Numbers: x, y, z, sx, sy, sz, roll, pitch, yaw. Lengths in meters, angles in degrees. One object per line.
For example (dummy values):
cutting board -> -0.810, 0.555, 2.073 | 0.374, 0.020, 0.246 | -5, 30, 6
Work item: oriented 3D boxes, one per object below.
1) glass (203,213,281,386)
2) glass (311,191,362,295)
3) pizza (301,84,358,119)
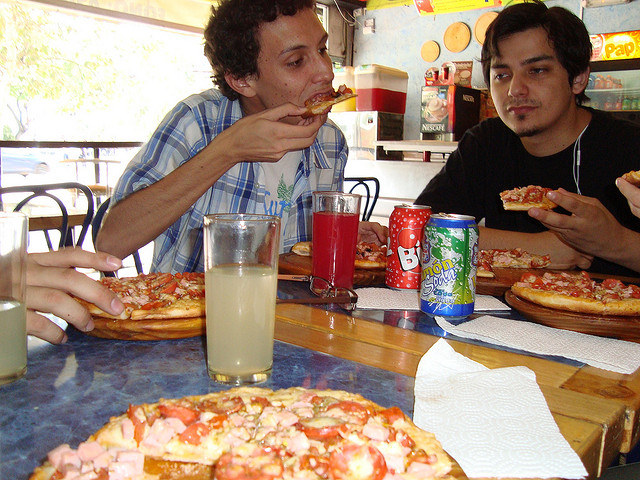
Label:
glass -> -0.149, 0.119, 0.877 | 0.156, 0.323, 0.161 | 0, -5, 22
glass -> 0.055, 0.002, 1.406 | 0.122, 0.303, 0.117 | 3, 6, 36
pizza -> 0.041, -0.618, 2.086 | 0.235, 0.093, 0.230 | -2, 32, 2
